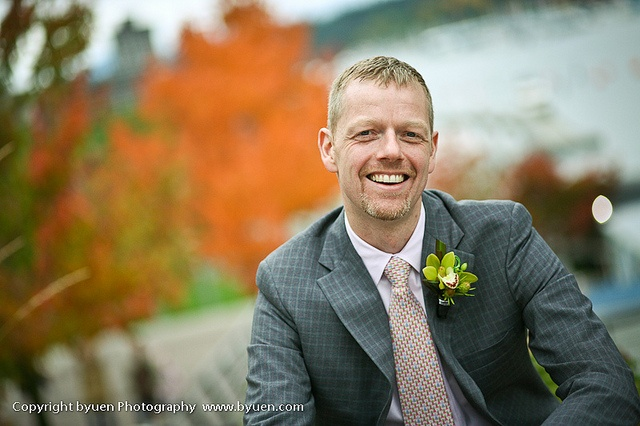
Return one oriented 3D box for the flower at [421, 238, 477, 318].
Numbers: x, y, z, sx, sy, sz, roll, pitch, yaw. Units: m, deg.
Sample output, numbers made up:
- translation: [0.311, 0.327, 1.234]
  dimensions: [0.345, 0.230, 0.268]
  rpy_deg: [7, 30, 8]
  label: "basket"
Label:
- translation: [0.922, 0.527, 6.407]
  dimensions: [0.333, 0.509, 0.522]
  rpy_deg: [-5, 15, 7]
  label: "flower"
